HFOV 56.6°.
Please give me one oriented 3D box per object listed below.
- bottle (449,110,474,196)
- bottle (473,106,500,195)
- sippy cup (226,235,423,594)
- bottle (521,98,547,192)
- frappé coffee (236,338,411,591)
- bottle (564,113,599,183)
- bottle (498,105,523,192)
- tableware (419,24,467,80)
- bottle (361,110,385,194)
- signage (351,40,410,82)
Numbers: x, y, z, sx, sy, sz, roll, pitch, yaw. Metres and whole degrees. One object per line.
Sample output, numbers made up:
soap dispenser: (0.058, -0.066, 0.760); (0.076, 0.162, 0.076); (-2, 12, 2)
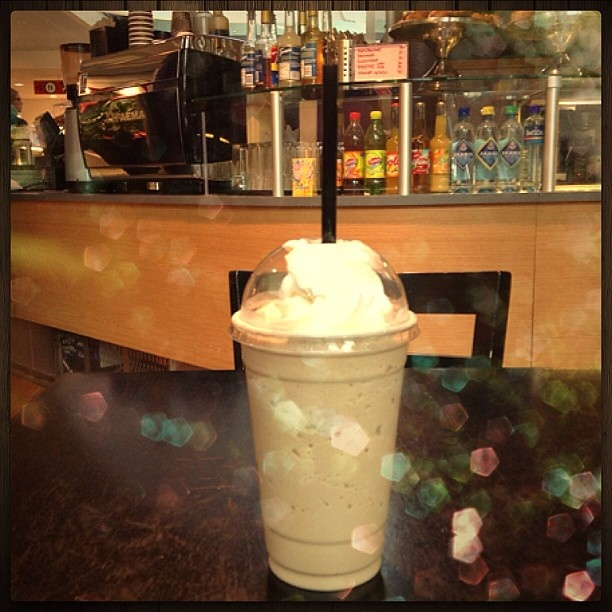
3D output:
bottle: (0.496, -0.495, 1.800); (0.074, 0.263, 0.225); (2, 13, 14)
bottle: (0.570, -0.499, 1.789); (0.073, 0.270, 0.230); (3, 13, 16)
sippy cup: (0.019, 0.088, 0.530); (0.170, 0.295, 0.170); (-1, 13, 0)
bottle: (0.698, -0.488, 1.747); (0.057, 0.266, 0.201); (4, 14, 19)
frappé coffee: (0.027, 0.132, 0.575); (0.221, 0.264, 0.202); (-1, 2, -8)
bottle: (0.893, -0.517, 1.834); (0.121, 0.232, 0.086); (-1, 13, 0)
bottle: (0.650, -0.507, 1.800); (0.076, 0.283, 0.263); (4, 13, 20)
tableware: (0.460, -0.835, 1.875); (0.111, 0.173, 0.239); (2, 12, 13)
bottle: (0.217, -0.483, 1.791); (0.066, 0.257, 0.154); (0, 13, 5)
signage: (0.242, -0.716, 1.663); (0.180, 0.101, 0.094); (15, 30, 31)
